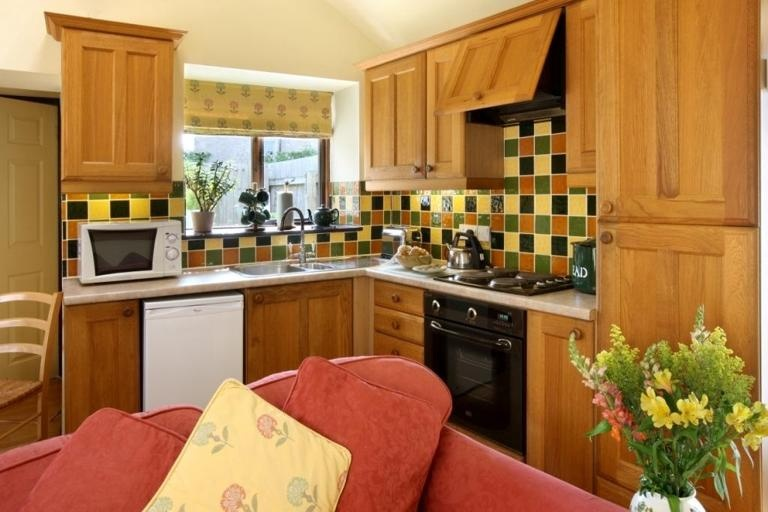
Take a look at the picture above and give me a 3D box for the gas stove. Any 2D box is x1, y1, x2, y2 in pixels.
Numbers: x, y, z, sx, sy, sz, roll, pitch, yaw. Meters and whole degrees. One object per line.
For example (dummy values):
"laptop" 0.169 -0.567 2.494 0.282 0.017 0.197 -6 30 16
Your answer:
"gas stove" 0.763 0.134 3.579 0.799 0.076 0.621 5 9 45

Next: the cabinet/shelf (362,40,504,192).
"cabinet/shelf" 0.397 -0.966 4.108 1.184 1.014 0.462 4 6 40

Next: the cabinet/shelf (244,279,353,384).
"cabinet/shelf" -0.501 0.604 4.063 0.770 0.750 0.444 -10 -24 10

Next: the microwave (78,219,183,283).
"microwave" -1.598 -0.049 3.655 0.657 0.412 0.392 0 0 -33

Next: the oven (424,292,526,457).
"oven" 0.721 0.668 3.556 0.640 0.856 0.808 -5 8 -32

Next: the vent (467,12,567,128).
"vent" 0.851 -1.144 3.505 0.398 0.552 0.683 -5 7 -29

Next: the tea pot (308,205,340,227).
"tea pot" -0.499 -0.349 4.753 0.244 0.162 0.167 1 2 0

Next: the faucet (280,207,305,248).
"faucet" -0.695 -0.201 4.433 0.198 0.406 0.088 -3 39 -8

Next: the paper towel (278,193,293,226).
"paper towel" -0.815 -0.399 4.746 0.138 0.311 0.142 1 9 19

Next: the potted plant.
"potted plant" -1.368 -0.411 4.419 0.354 0.446 0.401 7 -12 -3

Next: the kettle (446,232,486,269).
"kettle" 0.549 -0.053 4.015 0.307 0.249 0.211 8 13 31
